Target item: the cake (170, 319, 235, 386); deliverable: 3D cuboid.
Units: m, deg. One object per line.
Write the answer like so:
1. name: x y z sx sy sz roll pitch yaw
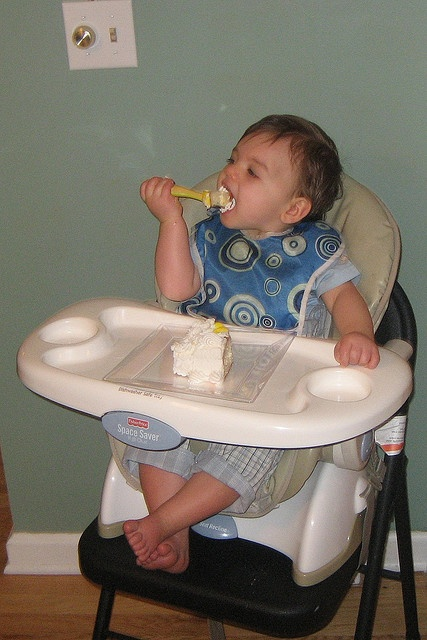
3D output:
1. cake: -0.019 0.036 0.770 0.066 0.030 0.083 -3 32 4
